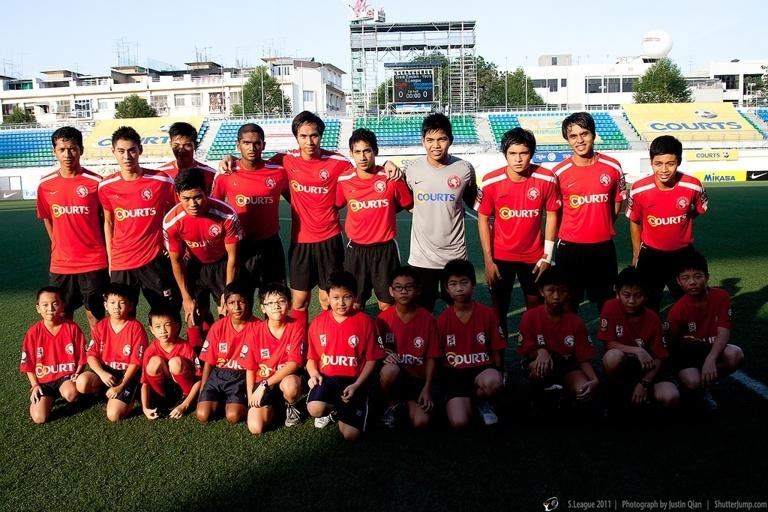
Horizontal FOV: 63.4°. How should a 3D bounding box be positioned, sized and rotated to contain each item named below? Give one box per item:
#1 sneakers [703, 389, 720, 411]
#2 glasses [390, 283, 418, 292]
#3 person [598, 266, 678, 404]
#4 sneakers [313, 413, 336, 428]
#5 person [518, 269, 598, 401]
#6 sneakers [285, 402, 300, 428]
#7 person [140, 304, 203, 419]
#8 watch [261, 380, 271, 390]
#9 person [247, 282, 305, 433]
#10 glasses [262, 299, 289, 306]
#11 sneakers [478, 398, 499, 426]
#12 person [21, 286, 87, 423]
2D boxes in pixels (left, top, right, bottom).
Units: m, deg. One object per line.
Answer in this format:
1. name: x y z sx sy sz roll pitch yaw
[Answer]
1. sneakers: 2.718 1.205 5.188 0.094 0.061 0.155 -27 45 3
2. glasses: 0.174 0.269 5.325 0.192 0.060 0.052 -1 13 5
3. person: 2.177 0.673 5.336 0.628 1.004 0.718 1 14 14
4. sneakers: -0.487 1.358 5.150 0.077 0.109 0.169 5 1 43
5. person: 1.496 0.682 5.390 0.649 1.056 0.490 1 13 12
6. sneakers: -0.752 1.318 5.169 0.138 0.153 0.105 -4 13 -7
7. person: -1.918 0.861 5.512 0.518 0.854 0.864 -8 15 -23
8. watch: -0.979 1.077 5.177 0.069 0.068 0.049 18 31 10
9. person: -0.925 0.825 5.213 0.521 1.100 0.633 -2 13 -2
10. glasses: -0.916 0.398 5.288 0.197 0.056 0.060 -4 14 -9
11. sneakers: 0.868 1.295 5.153 0.132 0.134 0.195 -5 14 -11
12. person: -2.886 0.807 5.443 0.512 0.996 0.698 -10 15 -31
